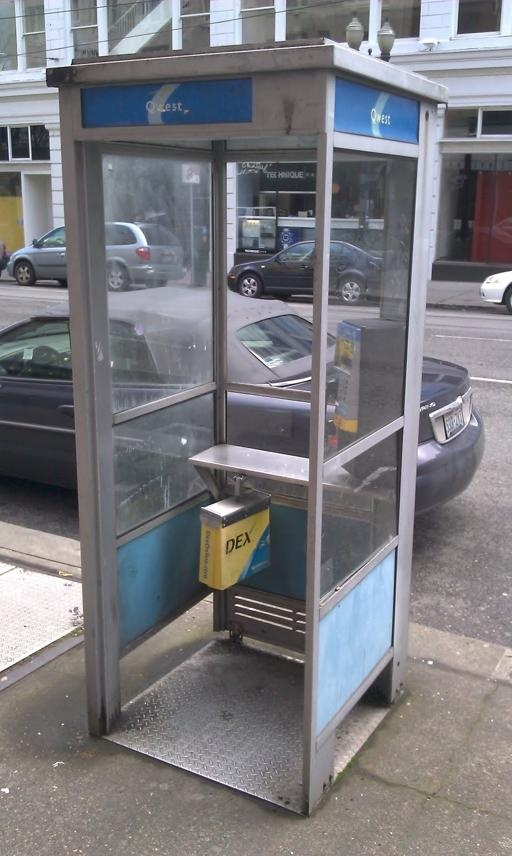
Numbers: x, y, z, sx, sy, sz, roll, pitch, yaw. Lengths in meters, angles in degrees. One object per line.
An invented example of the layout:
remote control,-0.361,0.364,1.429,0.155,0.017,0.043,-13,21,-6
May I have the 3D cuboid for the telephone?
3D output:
telephone,0.410,-0.161,2.569,0.273,0.646,0.302,3,14,19
